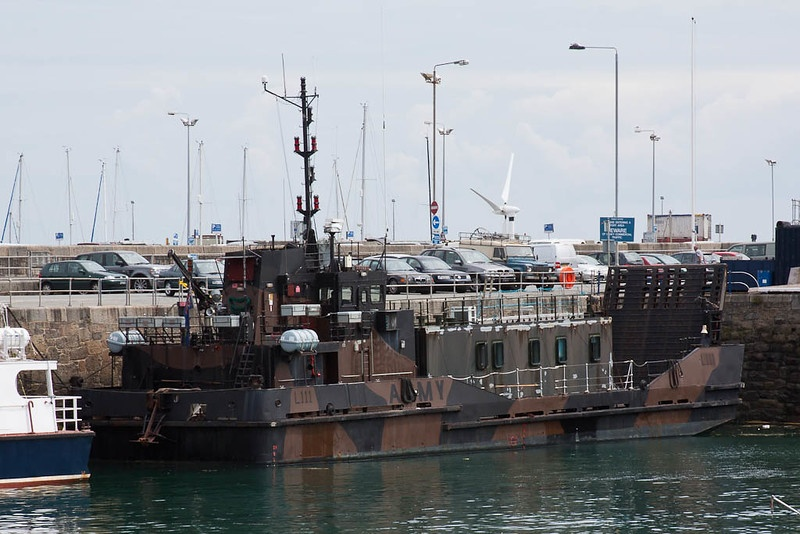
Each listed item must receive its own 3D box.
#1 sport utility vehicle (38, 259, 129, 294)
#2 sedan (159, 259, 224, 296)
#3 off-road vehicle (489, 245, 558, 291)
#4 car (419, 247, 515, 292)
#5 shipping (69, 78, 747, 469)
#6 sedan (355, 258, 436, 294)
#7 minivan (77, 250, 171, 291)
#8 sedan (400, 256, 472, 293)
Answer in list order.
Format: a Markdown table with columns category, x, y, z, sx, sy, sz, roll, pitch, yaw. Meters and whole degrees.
| category | x | y | z | sx | sy | sz | roll | pitch | yaw |
| --- | --- | --- | --- | --- | --- | --- | --- | --- | --- |
| sport utility vehicle | -10.772 | 0.020 | 67.947 | 3.143 | 1.104 | 1.603 | -3 | -2 | 25 |
| sedan | -6.670 | 0.207 | 67.165 | 3.001 | 1.004 | 1.378 | -5 | -4 | 40 |
| off-road vehicle | 4.346 | -0.105 | 75.010 | 1.702 | 1.545 | 3.071 | -3 | 6 | -39 |
| car | 2.929 | -0.028 | 70.491 | 1.450 | 1.087 | 2.880 | 0 | 1 | -41 |
| shipping | 1.206 | 0.775 | 61.953 | 7.099 | 9.833 | 23.227 | -3 | -3 | 45 |
| sedan | -0.105 | 0.255 | 66.891 | 2.337 | 0.758 | 1.049 | -1 | 5 | -6 |
| minivan | -9.244 | -0.040 | 71.101 | 3.505 | 1.386 | 1.692 | -1 | 0 | 28 |
| sedan | 1.533 | 0.168 | 68.517 | 1.101 | 0.780 | 2.374 | -1 | 1 | -37 |
